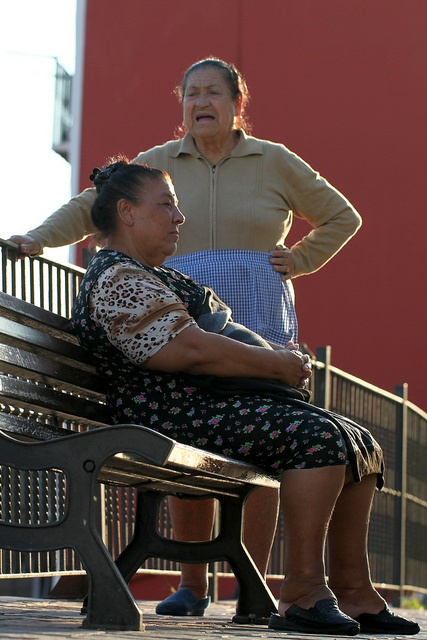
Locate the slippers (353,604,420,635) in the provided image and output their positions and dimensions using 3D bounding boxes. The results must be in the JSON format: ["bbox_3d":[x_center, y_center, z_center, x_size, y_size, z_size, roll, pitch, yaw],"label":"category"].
[{"bbox_3d":[0.657,1.166,5.857,0.264,0.106,0.090,0,-7,-2],"label":"slippers"}]

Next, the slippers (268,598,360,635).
[{"bbox_3d":[0.370,1.076,5.456,0.251,0.092,0.129,-8,-16,27],"label":"slippers"}]

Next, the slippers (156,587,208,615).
[{"bbox_3d":[-0.121,1.183,6.353,0.098,0.083,0.194,-13,-23,40],"label":"slippers"}]

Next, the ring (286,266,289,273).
[{"bbox_3d":[0.331,-0.216,6.727,0.015,0.019,0.020,4,3,13],"label":"ring"}]
